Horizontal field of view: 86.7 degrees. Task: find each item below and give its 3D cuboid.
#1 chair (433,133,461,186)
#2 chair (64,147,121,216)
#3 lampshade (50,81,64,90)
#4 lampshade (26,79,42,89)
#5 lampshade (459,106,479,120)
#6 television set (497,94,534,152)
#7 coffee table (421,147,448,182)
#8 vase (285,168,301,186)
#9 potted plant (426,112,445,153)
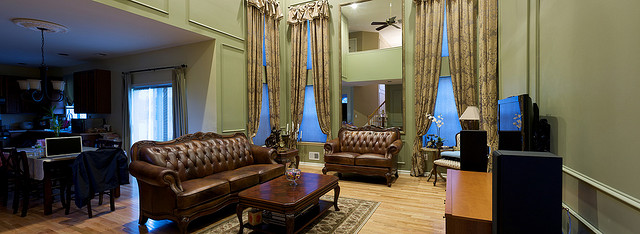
[{"bbox_3d":[5.005,1.712,13.338,1.059,1.998,1.526,-2,2,18],"label":"chair"},{"bbox_3d":[-8.291,2.102,12.200,2.341,2.723,1.286,2,1,26],"label":"chair"},{"bbox_3d":[-10.237,-1.242,13.138,0.421,0.208,0.357,-2,-5,18],"label":"lampshade"},{"bbox_3d":[-10.839,-1.250,12.766,0.460,0.229,0.373,0,-4,-3],"label":"lampshade"},{"bbox_3d":[5.910,-0.157,13.216,0.704,0.275,0.612,1,4,23],"label":"lampshade"},{"bbox_3d":[6.352,0.163,10.994,1.009,1.772,0.649,-1,3,42],"label":"television set"},{"bbox_3d":[4.600,1.960,13.919,0.767,1.419,1.127,-1,1,19],"label":"coffee table"},{"bbox_3d":[-0.857,2.089,12.067,0.679,0.474,0.581,1,-1,19],"label":"vase"},{"bbox_3d":[4.959,0.592,14.029,1.177,1.415,0.765,0,2,39],"label":"potted plant"}]
